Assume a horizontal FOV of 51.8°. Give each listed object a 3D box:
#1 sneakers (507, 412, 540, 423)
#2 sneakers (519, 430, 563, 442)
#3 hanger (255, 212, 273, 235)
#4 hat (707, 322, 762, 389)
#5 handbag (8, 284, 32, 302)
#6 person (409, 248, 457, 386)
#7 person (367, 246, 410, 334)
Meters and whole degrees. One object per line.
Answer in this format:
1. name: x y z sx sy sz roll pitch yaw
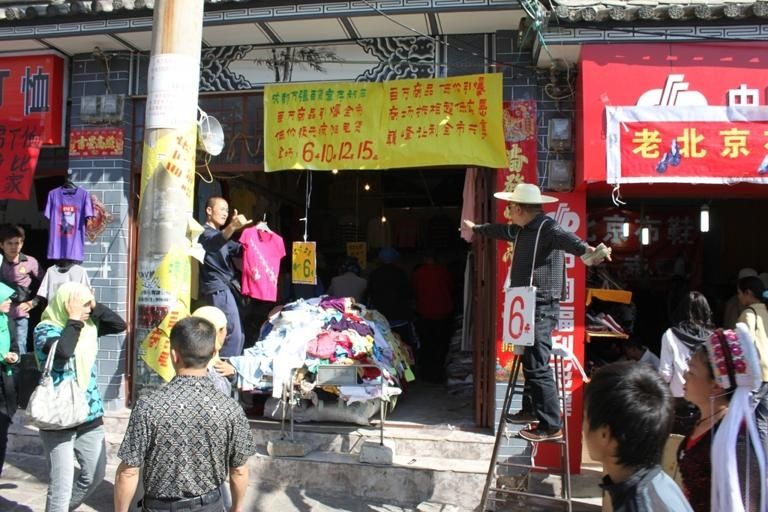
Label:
1. sneakers: 1.375 1.623 7.943 0.277 0.125 0.120 4 -4 3
2. sneakers: 1.549 1.749 7.790 0.387 0.157 0.154 3 -13 6
3. hanger: -1.702 -0.481 11.044 0.025 0.339 0.306 -22 -36 36
4. hat: 2.783 0.788 6.221 0.178 0.483 0.441 -12 26 15
5. handbag: -4.251 0.422 9.204 0.181 0.257 0.099 15 16 16
6. person: 0.726 0.898 12.090 0.647 1.734 0.431 2 1 3
7. person: 0.066 0.431 11.630 0.674 1.068 0.294 2 1 -2
